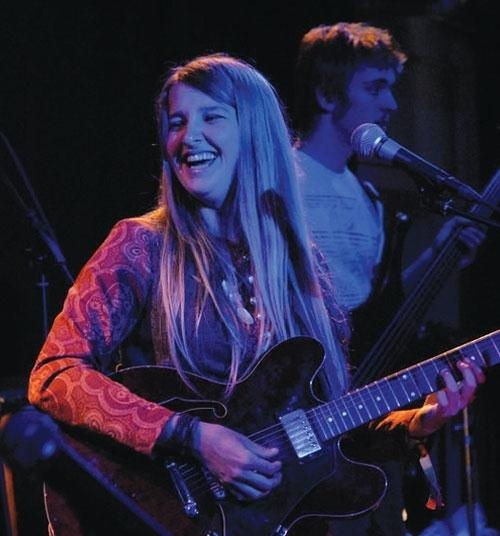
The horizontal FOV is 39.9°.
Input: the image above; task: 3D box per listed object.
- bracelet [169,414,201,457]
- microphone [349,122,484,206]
[{"bbox_3d":[-0.197,0.506,2.072,0.054,0.106,0.082,-8,-29,2],"label":"bracelet"},{"bbox_3d":[0.564,-0.345,2.411,0.417,0.121,0.114,26,-7,1],"label":"microphone"}]
